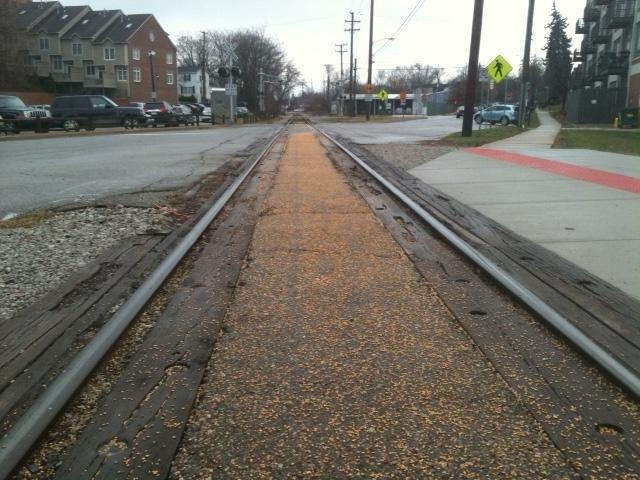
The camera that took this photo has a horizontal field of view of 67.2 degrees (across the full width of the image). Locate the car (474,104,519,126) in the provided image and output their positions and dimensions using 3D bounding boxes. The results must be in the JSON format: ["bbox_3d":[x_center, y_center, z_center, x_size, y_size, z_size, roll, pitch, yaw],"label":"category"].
[{"bbox_3d":[14.913,-10.505,39.840,1.515,1.639,4.176,-7,19,-17],"label":"car"}]
